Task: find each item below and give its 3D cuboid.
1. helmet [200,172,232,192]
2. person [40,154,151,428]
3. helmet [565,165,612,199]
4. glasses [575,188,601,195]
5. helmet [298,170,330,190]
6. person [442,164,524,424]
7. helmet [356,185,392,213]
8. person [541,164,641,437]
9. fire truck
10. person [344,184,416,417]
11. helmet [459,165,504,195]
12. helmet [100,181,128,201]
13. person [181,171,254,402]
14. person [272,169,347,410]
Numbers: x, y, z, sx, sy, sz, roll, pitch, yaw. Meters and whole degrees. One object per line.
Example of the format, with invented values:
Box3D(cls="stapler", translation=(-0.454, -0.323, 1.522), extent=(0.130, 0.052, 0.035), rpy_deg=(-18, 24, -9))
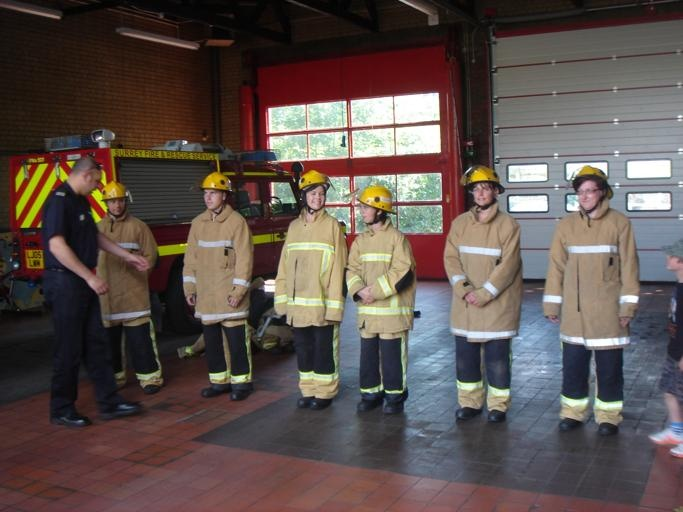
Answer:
Box3D(cls="helmet", translation=(-1.402, -0.876, 6.320), extent=(0.252, 0.150, 0.307), rpy_deg=(3, 11, 16))
Box3D(cls="person", translation=(-2.538, 0.343, 5.519), extent=(0.626, 2.676, 0.744), rpy_deg=(2, 7, 41))
Box3D(cls="helmet", translation=(2.265, -0.702, 5.005), extent=(0.290, 0.306, 0.391), rpy_deg=(4, 11, -41))
Box3D(cls="glasses", translation=(2.213, -0.585, 4.856), extent=(0.178, 0.048, 0.066), rpy_deg=(0, 6, 23))
Box3D(cls="helmet", translation=(-0.285, -0.827, 5.902), extent=(0.310, 0.225, 0.395), rpy_deg=(-2, 6, 2))
Box3D(cls="person", translation=(1.389, 0.343, 5.346), extent=(0.725, 2.458, 0.521), rpy_deg=(-1, 6, 17))
Box3D(cls="helmet", translation=(0.414, -0.609, 5.700), extent=(0.405, 0.223, 0.298), rpy_deg=(-3, 21, -27))
Box3D(cls="person", translation=(2.251, 0.376, 4.944), extent=(0.781, 2.370, 0.426), rpy_deg=(0, 6, 24))
Box3D(cls="fire truck", translation=(-2.936, -0.552, 10.556), extent=(3.298, 3.016, 5.486), rpy_deg=(2, 7, 36))
Box3D(cls="person", translation=(0.420, 0.581, 5.664), extent=(0.715, 1.953, 0.453), rpy_deg=(-2, 5, 11))
Box3D(cls="helmet", translation=(1.417, -0.802, 5.329), extent=(0.404, 0.194, 0.276), rpy_deg=(16, -8, -20))
Box3D(cls="helmet", translation=(-2.718, -0.787, 6.535), extent=(0.209, 0.144, 0.279), rpy_deg=(-6, 7, -38))
Box3D(cls="person", translation=(-1.398, 0.313, 6.271), extent=(0.830, 2.523, 0.461), rpy_deg=(0, 6, 22))
Box3D(cls="person", translation=(-0.322, 0.335, 5.870), extent=(0.805, 2.498, 0.525), rpy_deg=(-2, 5, 9))
